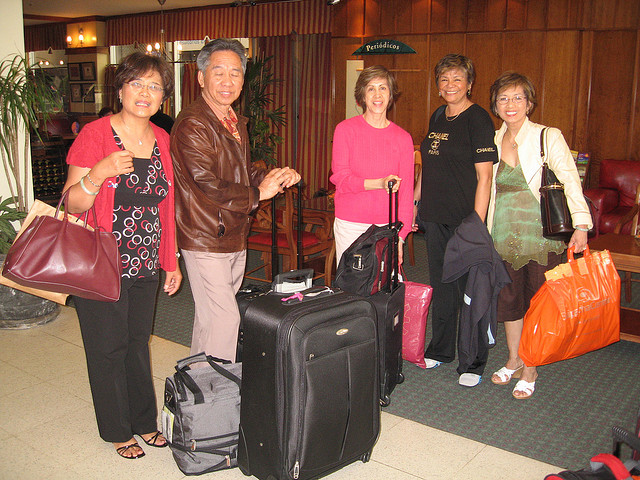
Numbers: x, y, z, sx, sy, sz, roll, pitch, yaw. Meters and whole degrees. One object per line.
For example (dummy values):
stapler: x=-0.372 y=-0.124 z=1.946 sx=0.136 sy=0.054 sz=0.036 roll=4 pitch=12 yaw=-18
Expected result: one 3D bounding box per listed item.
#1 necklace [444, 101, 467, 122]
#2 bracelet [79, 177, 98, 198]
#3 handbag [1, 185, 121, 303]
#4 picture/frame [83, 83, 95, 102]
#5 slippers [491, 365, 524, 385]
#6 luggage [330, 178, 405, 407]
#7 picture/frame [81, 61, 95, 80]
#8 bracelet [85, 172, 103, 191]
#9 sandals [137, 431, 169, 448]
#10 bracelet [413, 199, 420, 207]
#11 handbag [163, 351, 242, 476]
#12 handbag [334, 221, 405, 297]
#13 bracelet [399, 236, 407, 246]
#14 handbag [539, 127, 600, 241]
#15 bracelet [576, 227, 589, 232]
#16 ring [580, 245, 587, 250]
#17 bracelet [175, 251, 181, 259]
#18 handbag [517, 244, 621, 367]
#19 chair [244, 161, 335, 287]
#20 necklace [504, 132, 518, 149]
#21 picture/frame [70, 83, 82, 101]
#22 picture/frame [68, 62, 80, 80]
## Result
necklace: x=0.942 y=-0.911 z=3.666 sx=0.105 sy=0.110 sz=0.235 roll=-6 pitch=17 yaw=-24
bracelet: x=-1.107 y=-0.261 z=2.505 sx=0.079 sy=0.082 sz=0.019 roll=37 pitch=46 yaw=23
handbag: x=-1.235 y=0.080 z=2.520 sx=0.509 sy=0.443 sz=0.123 roll=-3 pitch=13 yaw=-15
picture/frame: x=-5.829 y=-3.823 z=13.215 sx=0.364 sy=0.585 sz=0.054 roll=9 pitch=26 yaw=10
slippers: x=1.322 y=0.931 z=3.684 sx=0.249 sy=0.089 sz=0.097 roll=-13 pitch=20 yaw=-34
luggage: x=0.317 y=0.333 z=3.300 sx=0.411 sy=1.433 sz=0.447 roll=7 pitch=15 yaw=24
picture/frame: x=-5.781 y=-4.343 z=13.049 sx=0.366 sy=0.440 sz=0.040 roll=12 pitch=16 yaw=26
bracelet: x=-1.080 y=-0.284 z=2.505 sx=0.015 sy=0.065 sz=0.061 roll=-44 pitch=16 yaw=-35
sandals: x=-0.930 y=1.142 z=2.947 sx=0.188 sy=0.048 sz=0.078 roll=13 pitch=24 yaw=32
bracelet: x=0.738 y=-0.291 z=3.944 sx=0.044 sy=0.042 sz=0.068 roll=-1 pitch=1 yaw=20
handbag: x=-0.594 y=0.923 z=2.924 sx=0.380 sy=0.655 sz=0.591 roll=0 pitch=3 yaw=-12
handbag: x=0.278 y=0.114 z=3.279 sx=0.250 sy=0.513 sz=0.371 roll=14 pitch=9 yaw=14
bracelet: x=0.539 y=0.001 z=3.408 sx=0.016 sy=0.074 sz=0.065 roll=-3 pitch=-5 yaw=27
handbag: x=1.483 y=-0.345 z=3.267 sx=0.276 sy=0.697 sz=0.172 roll=11 pitch=16 yaw=37
bracelet: x=1.629 y=-0.071 z=3.223 sx=0.094 sy=0.040 sz=0.030 roll=-3 pitch=14 yaw=-15
ring: x=1.649 y=0.043 z=3.238 sx=0.021 sy=0.035 sz=0.012 roll=4 pitch=-9 yaw=15
bracelet: x=-0.813 y=0.086 z=3.011 sx=0.031 sy=0.044 sz=0.011 roll=-6 pitch=7 yaw=-39
handbag: x=1.593 y=0.380 z=3.244 sx=0.642 sy=0.743 sz=0.295 roll=-12 pitch=20 yaw=-13
chair: x=-0.323 y=-0.126 z=5.200 sx=0.856 sy=1.399 sz=0.921 roll=-5 pitch=16 yaw=-20
necklace: x=1.264 y=-0.663 z=3.432 sx=0.068 sy=0.116 sz=0.030 roll=-5 pitch=-13 yaw=26
picture/frame: x=-6.261 y=-3.905 z=13.451 sx=0.372 sy=0.622 sz=0.055 roll=4 pitch=13 yaw=15
picture/frame: x=-6.256 y=-4.411 z=13.349 sx=0.351 sy=0.417 sz=0.037 roll=15 pitch=24 yaw=26
